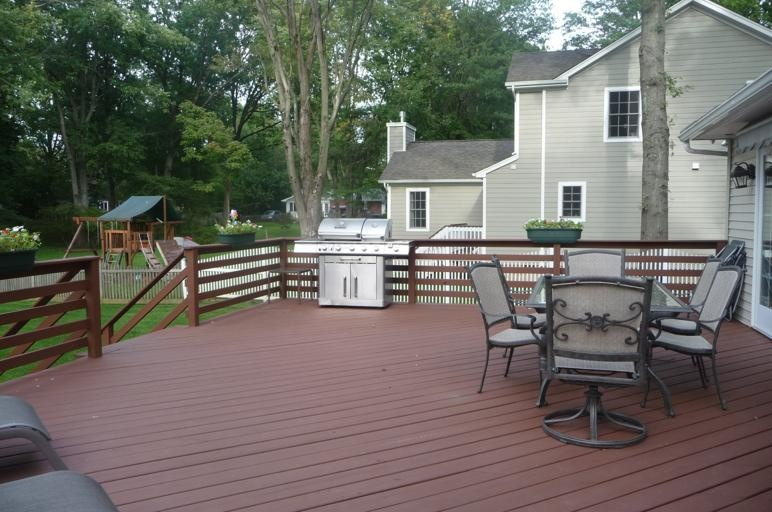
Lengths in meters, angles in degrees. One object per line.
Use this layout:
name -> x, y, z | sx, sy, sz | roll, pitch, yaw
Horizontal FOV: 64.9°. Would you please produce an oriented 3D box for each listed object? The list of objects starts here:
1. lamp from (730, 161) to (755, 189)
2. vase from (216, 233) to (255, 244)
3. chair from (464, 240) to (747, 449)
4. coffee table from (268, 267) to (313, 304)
lamp -> 5.209, -1.191, 8.855 | 0.416, 0.436, 0.317 | -2, 1, 5
vase -> -2.501, -0.276, 10.236 | 0.405, 0.116, 0.258 | -4, 6, -40
chair -> 2.154, 0.904, 5.800 | 1.644, 1.629, 0.962 | -9, 13, -35
coffee table -> -1.699, 0.523, 10.949 | 0.771, 0.487, 0.641 | 0, 4, 8
